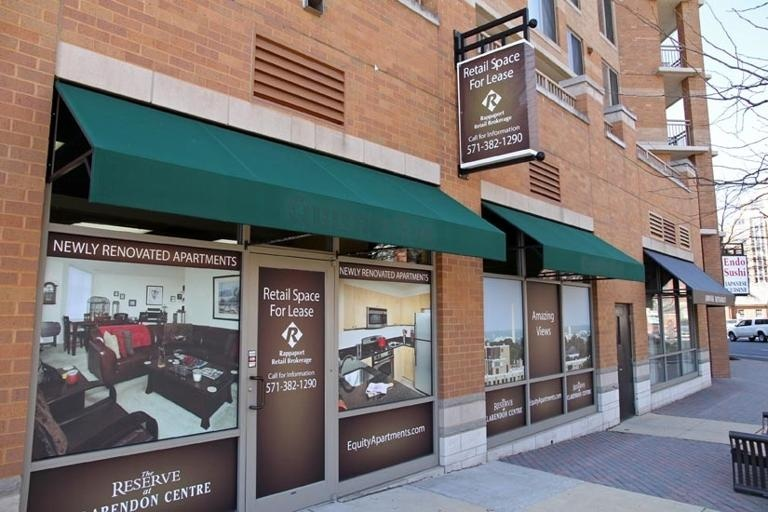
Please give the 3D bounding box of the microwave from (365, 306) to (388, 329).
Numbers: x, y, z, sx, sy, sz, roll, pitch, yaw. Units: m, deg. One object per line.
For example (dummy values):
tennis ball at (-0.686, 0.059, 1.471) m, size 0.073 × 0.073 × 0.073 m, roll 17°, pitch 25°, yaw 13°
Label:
microwave at (-0.120, 0.974, 9.788) m, size 0.282 × 0.453 × 0.555 m, roll -6°, pitch -7°, yaw 44°

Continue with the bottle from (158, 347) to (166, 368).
bottle at (-2.871, 1.310, 7.642) m, size 0.101 × 0.259 × 0.029 m, roll 4°, pitch -4°, yaw -41°

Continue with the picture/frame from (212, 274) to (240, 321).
picture/frame at (-2.194, 0.583, 8.149) m, size 0.039 × 0.815 × 0.609 m, roll -7°, pitch -8°, yaw 43°
